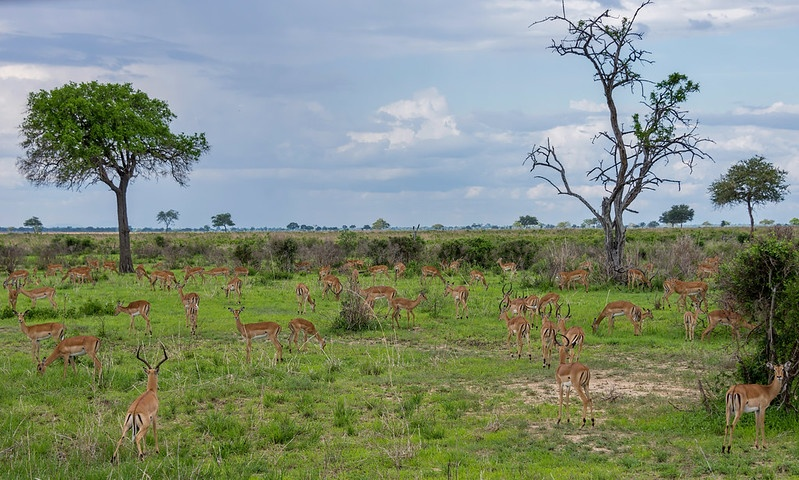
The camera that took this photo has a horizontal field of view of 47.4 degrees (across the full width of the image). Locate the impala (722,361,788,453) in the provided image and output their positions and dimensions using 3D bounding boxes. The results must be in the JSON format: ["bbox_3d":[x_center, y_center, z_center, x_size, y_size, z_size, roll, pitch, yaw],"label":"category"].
[{"bbox_3d":[13.763,6.569,35.796,2.882,3.200,1.429,-6,13,-30],"label":"impala"}]
